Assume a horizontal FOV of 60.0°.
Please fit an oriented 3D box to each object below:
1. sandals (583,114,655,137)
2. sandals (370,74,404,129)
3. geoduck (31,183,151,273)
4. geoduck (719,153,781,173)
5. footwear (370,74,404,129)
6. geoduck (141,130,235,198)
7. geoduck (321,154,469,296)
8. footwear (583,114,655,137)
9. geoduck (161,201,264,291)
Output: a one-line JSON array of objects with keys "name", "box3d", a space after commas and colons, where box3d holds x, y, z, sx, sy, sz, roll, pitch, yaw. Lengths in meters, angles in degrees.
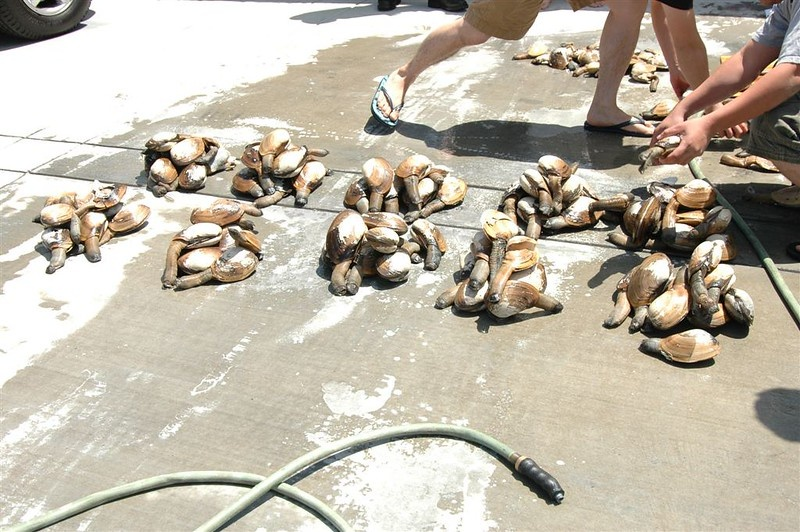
[{"name": "sandals", "box3d": [1.550, -1.010, 4.925, 0.462, 0.097, 0.157, 3, 39, 9]}, {"name": "sandals", "box3d": [-0.119, -1.243, 5.081, 0.194, 0.137, 0.447, 8, 56, -26]}, {"name": "geoduck", "box3d": [-1.759, -0.242, 3.923, 0.551, 0.174, 0.567, 14, 29, 15]}, {"name": "geoduck", "box3d": [2.233, -0.668, 4.467, 0.337, 0.102, 0.119, 20, 36, 28]}, {"name": "footwear", "box3d": [-0.119, -1.211, 5.075, 0.194, 0.137, 0.447, 8, 56, -26]}, {"name": "geoduck", "box3d": [-1.334, -0.676, 4.405, 0.410, 0.218, 0.504, 23, 35, 19]}, {"name": "geoduck", "box3d": [-0.050, -0.256, 3.863, 0.725, 0.261, 0.857, -1, 36, -1]}, {"name": "footwear", "box3d": [1.559, -1.002, 4.951, 0.462, 0.097, 0.157, 3, 39, 9]}, {"name": "geoduck", "box3d": [-1.010, -0.103, 3.734, 0.575, 0.237, 0.442, -28, 39, -9]}]
